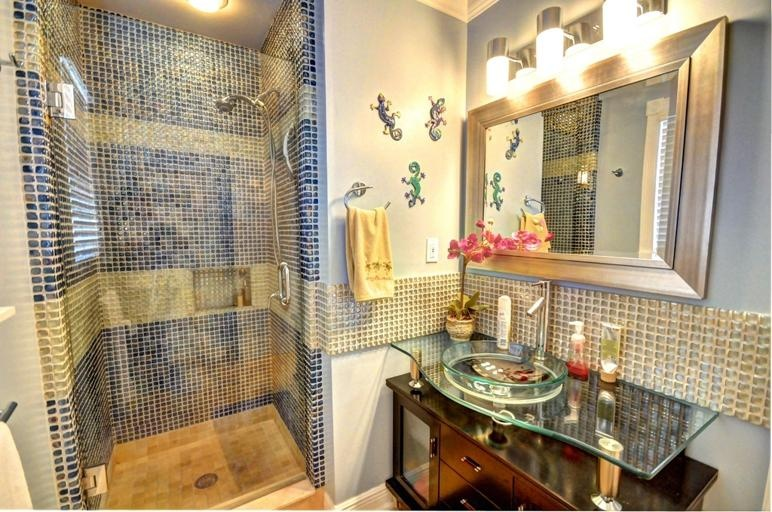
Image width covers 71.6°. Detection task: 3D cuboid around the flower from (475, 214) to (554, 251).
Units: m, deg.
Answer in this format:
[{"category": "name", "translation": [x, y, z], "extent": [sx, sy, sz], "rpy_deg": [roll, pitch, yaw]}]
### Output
[{"category": "flower", "translation": [0.717, -0.122, 2.937], "extent": [0.232, 0.133, 0.241], "rpy_deg": [0, 5, -21]}]

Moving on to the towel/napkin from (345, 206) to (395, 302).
[{"category": "towel/napkin", "translation": [-0.079, -0.018, 2.906], "extent": [0.267, 0.500, 0.122], "rpy_deg": [-7, 7, -33]}]

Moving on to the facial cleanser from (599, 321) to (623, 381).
[{"category": "facial cleanser", "translation": [1.117, 0.483, 2.657], "extent": [0.096, 0.289, 0.069], "rpy_deg": [1, 7, 33]}]

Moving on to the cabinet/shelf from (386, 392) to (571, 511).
[{"category": "cabinet/shelf", "translation": [0.484, 0.966, 2.634], "extent": [0.233, 0.518, 0.709], "rpy_deg": [-5, 8, -39]}]

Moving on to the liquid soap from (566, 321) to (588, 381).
[{"category": "liquid soap", "translation": [0.979, 0.483, 2.728], "extent": [0.105, 0.287, 0.115], "rpy_deg": [-2, 6, 11]}]

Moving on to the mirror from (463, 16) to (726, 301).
[{"category": "mirror", "translation": [1.080, -0.490, 2.679], "extent": [0.065, 1.297, 1.553], "rpy_deg": [-4, 6, -39]}]

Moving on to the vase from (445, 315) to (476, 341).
[{"category": "vase", "translation": [0.431, 0.419, 3.039], "extent": [0.162, 0.134, 0.172], "rpy_deg": [-3, 6, -6]}]
